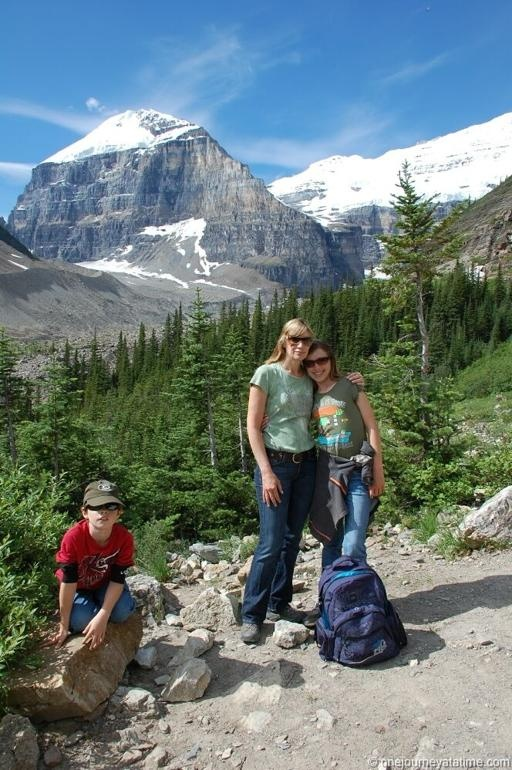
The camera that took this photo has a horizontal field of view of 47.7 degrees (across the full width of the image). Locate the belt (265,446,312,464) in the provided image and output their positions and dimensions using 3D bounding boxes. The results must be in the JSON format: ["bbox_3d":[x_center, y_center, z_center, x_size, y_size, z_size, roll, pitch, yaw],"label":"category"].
[{"bbox_3d":[0.303,0.580,4.815,0.460,0.153,0.132,-4,4,-28],"label":"belt"}]

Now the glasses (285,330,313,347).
[{"bbox_3d":[0.363,-0.371,4.743,0.209,0.096,0.111,-3,4,-12],"label":"glasses"}]

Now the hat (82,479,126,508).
[{"bbox_3d":[-1.173,0.822,4.377,0.207,0.165,0.281,6,-18,-23],"label":"hat"}]

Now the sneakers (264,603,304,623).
[{"bbox_3d":[0.257,2.042,5.115,0.351,0.146,0.127,-1,-1,-19],"label":"sneakers"}]

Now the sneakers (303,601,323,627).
[{"bbox_3d":[0.496,1.999,4.985,0.176,0.088,0.292,-22,5,16],"label":"sneakers"}]
